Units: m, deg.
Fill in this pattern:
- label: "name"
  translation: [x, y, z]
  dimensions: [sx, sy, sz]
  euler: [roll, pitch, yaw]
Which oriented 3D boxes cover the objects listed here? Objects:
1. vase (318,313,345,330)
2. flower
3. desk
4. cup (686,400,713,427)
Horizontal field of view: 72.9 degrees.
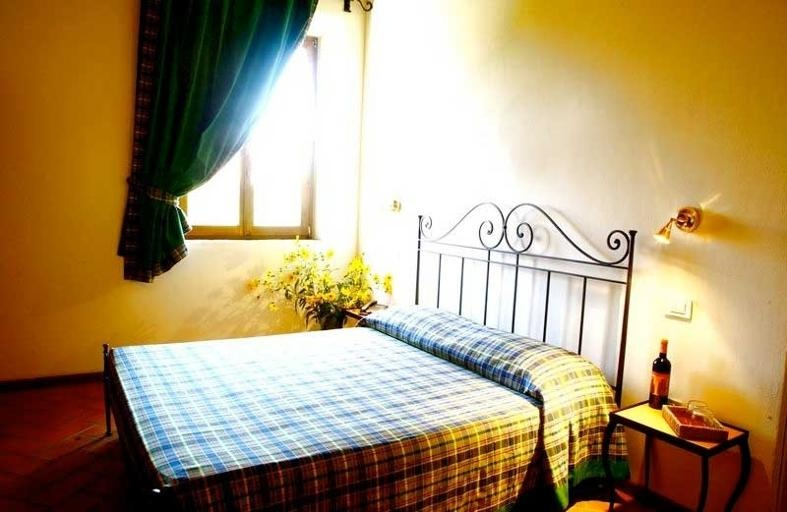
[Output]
- label: "vase"
  translation: [-0.542, 0.600, 4.788]
  dimensions: [0.181, 0.142, 0.188]
  euler: [5, 14, 11]
- label: "flower"
  translation: [-0.486, 0.439, 5.067]
  dimensions: [1.037, 0.795, 1.041]
  euler: [6, -11, -15]
- label: "desk"
  translation: [1.548, 1.187, 2.957]
  dimensions: [0.707, 0.637, 0.398]
  euler: [8, 9, 37]
- label: "cup"
  translation: [1.637, 0.843, 2.849]
  dimensions: [0.095, 0.103, 0.104]
  euler: [1, 6, 0]
